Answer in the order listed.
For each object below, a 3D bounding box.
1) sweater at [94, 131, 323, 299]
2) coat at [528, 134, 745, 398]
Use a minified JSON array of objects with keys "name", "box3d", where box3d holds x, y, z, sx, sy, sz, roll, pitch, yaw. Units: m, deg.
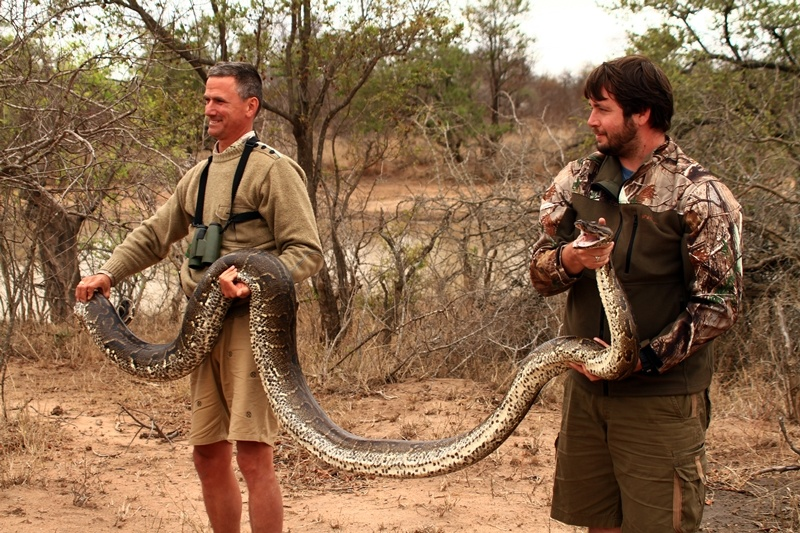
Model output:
[{"name":"sweater","box3d":[-1.810,-0.564,8.852,1.988,1.562,1.841,1,0,41]},{"name":"coat","box3d":[2.241,0.014,7.900,1.683,2.361,0.434,-1,0,22]}]
